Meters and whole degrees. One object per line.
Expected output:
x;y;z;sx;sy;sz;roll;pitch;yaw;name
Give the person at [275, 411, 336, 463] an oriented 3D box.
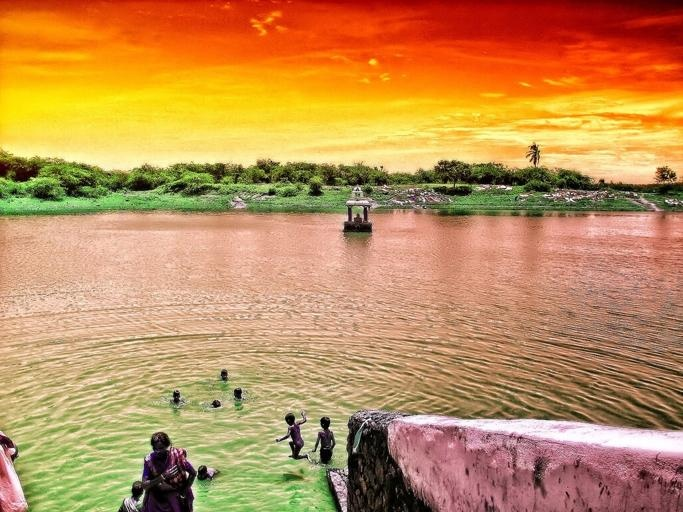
-0.735;3.818;11.547;0.938;1.038;1.187;-11;13;-42;person
